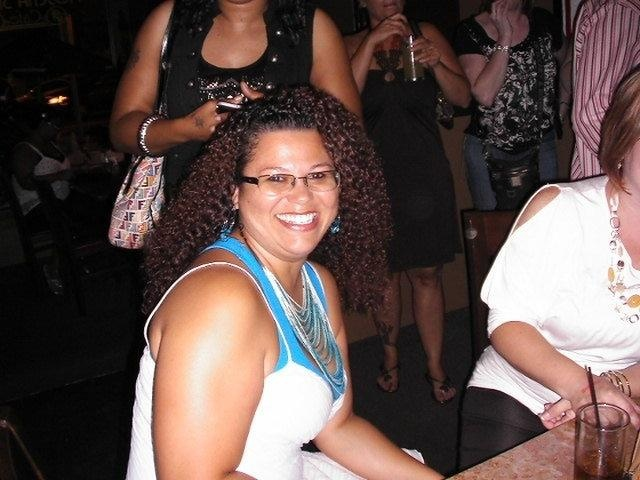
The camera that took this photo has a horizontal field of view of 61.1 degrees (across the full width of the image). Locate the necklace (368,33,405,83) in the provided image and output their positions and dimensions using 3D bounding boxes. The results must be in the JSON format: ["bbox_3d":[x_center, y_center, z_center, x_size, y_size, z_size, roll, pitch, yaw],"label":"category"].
[{"bbox_3d":[0.323,-0.880,2.637,0.178,0.237,0.062,-2,-1,2],"label":"necklace"}]

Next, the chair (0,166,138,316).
[{"bbox_3d":[-1.737,-0.010,3.639,0.524,0.838,0.496,-27,69,-23],"label":"chair"}]

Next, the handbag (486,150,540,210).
[{"bbox_3d":[1.071,-0.345,2.974,0.277,0.372,0.208,-13,35,8],"label":"handbag"}]

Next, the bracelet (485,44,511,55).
[{"bbox_3d":[0.939,-1.014,2.872,0.071,0.049,0.140,-12,23,-21],"label":"bracelet"}]

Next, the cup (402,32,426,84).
[{"bbox_3d":[0.449,-0.873,2.603,0.101,0.233,0.089,-8,22,-13],"label":"cup"}]
